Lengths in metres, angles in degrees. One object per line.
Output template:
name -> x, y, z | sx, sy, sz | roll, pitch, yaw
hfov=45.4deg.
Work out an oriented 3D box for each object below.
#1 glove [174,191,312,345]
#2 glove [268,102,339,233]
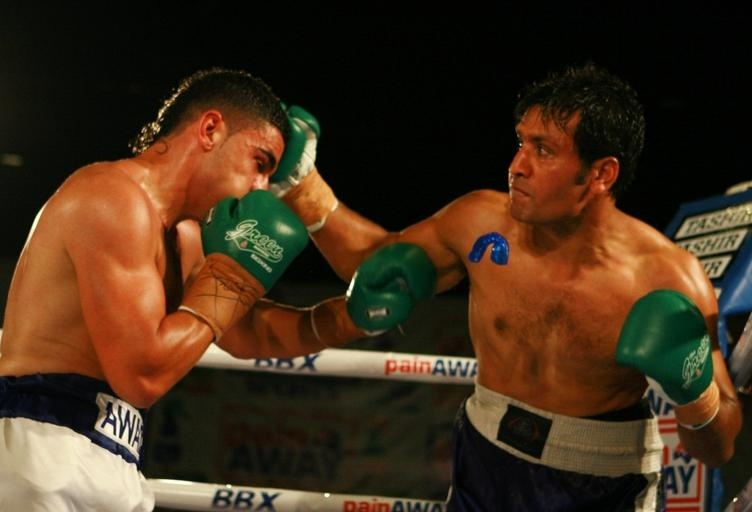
glove -> -0.694, 0.044, 4.841 | 0.544, 0.789, 0.315 | 33, -9, 5
glove -> -0.406, -0.498, 5.159 | 0.257, 0.492, 0.646 | -23, -78, 21
